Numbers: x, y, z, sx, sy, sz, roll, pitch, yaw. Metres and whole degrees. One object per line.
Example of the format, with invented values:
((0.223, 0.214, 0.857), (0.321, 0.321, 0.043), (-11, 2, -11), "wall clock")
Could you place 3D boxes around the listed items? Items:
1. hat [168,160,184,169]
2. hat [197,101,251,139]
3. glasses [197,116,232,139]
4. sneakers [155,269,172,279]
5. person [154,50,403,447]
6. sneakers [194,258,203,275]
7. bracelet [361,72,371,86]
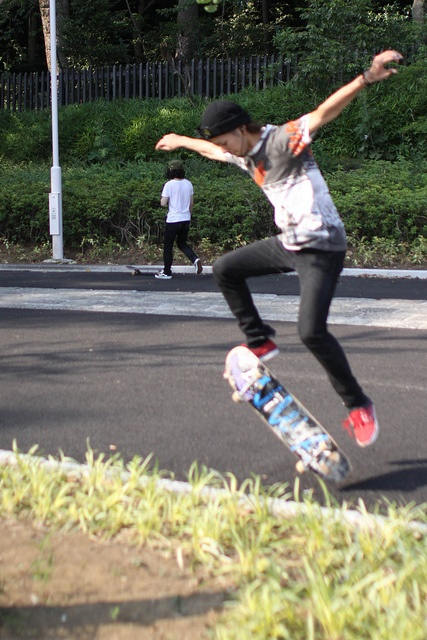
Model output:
((-0.765, -2.937, 10.754), (0.273, 0.142, 0.204), (14, 31, 35), "hat")
((0.038, -0.911, 2.594), (0.214, 0.135, 0.153), (-35, 23, 13), "hat")
((-0.010, -0.878, 2.593), (0.098, 0.035, 0.094), (-22, 4, -14), "glasses")
((-0.983, -0.886, 11.128), (0.133, 0.169, 0.368), (-9, 18, -37), "sneakers")
((0.375, -0.227, 2.790), (1.357, 1.815, 0.756), (6, 10, 39), "person")
((-0.296, -1.043, 11.230), (0.112, 0.304, 0.131), (-22, 23, -26), "sneakers")
((0.600, -0.925, 2.184), (0.019, 0.059, 0.042), (-3, 17, -4), "bracelet")
